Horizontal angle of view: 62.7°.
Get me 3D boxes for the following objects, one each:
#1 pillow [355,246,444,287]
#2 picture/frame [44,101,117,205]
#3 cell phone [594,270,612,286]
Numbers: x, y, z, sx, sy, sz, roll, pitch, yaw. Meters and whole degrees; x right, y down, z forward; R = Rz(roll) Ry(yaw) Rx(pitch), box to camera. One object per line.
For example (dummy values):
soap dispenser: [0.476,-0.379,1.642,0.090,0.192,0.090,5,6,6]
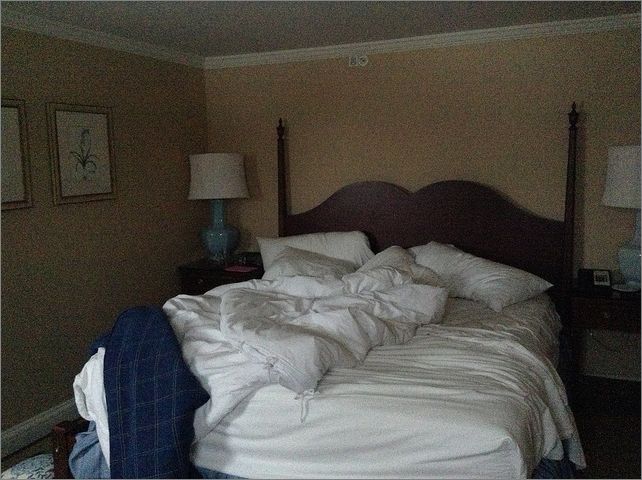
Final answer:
pillow: [0.599,0.179,3.879,0.355,0.111,0.374,-10,18,-43]
picture/frame: [-1.807,-0.646,3.890,0.039,0.862,0.732,5,10,26]
cell phone: [2.082,0.284,3.900,0.089,0.084,0.049,6,-27,-1]
